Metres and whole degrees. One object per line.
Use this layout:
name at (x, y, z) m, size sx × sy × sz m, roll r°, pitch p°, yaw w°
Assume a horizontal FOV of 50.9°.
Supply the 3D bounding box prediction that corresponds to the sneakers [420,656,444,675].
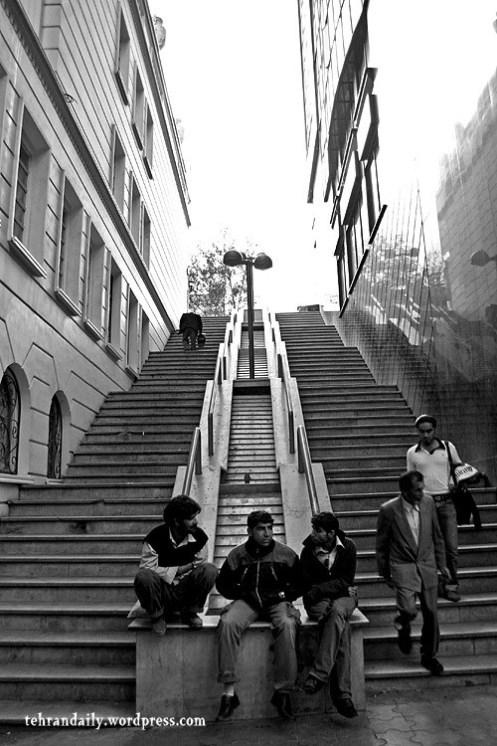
sneakers at (1.187, 1.878, 3.375) m, size 0.067 × 0.194 × 0.160 m, roll 0°, pitch -18°, yaw -3°

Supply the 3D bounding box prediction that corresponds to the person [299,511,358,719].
person at (0.474, 1.359, 3.045) m, size 0.345 × 1.056 × 0.611 m, roll -5°, pitch -16°, yaw 10°

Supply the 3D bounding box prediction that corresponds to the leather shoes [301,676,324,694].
leather shoes at (0.346, 1.655, 2.766) m, size 0.092 × 0.083 × 0.219 m, roll 1°, pitch -28°, yaw 2°

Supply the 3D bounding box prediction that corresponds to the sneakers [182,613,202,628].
sneakers at (-0.323, 1.475, 3.102) m, size 0.109 × 0.090 × 0.084 m, roll -1°, pitch -18°, yaw -9°

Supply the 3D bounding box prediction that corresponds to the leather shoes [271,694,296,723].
leather shoes at (0.192, 1.824, 2.868) m, size 0.110 × 0.152 × 0.226 m, roll -4°, pitch -19°, yaw 2°

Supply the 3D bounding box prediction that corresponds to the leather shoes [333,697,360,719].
leather shoes at (0.500, 1.736, 2.704) m, size 0.098 × 0.088 × 0.091 m, roll -6°, pitch -18°, yaw 6°

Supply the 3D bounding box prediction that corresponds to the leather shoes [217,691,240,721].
leather shoes at (-0.106, 1.832, 2.868) m, size 0.120 × 0.154 × 0.236 m, roll -3°, pitch -20°, yaw -1°

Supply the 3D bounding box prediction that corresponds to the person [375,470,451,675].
person at (1.138, 1.358, 3.554) m, size 0.301 × 1.371 × 0.333 m, roll -4°, pitch 2°, yaw 22°

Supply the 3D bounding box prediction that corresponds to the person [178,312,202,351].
person at (-1.857, -1.294, 16.881) m, size 0.732 × 2.206 × 0.854 m, roll 6°, pitch -55°, yaw -8°

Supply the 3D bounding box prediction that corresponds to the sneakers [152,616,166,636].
sneakers at (-0.510, 1.476, 3.035) m, size 0.090 × 0.105 × 0.067 m, roll 4°, pitch -17°, yaw -23°

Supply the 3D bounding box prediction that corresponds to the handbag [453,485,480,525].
handbag at (1.721, 1.055, 4.146) m, size 0.170 × 0.411 × 0.083 m, roll -1°, pitch 1°, yaw 0°
